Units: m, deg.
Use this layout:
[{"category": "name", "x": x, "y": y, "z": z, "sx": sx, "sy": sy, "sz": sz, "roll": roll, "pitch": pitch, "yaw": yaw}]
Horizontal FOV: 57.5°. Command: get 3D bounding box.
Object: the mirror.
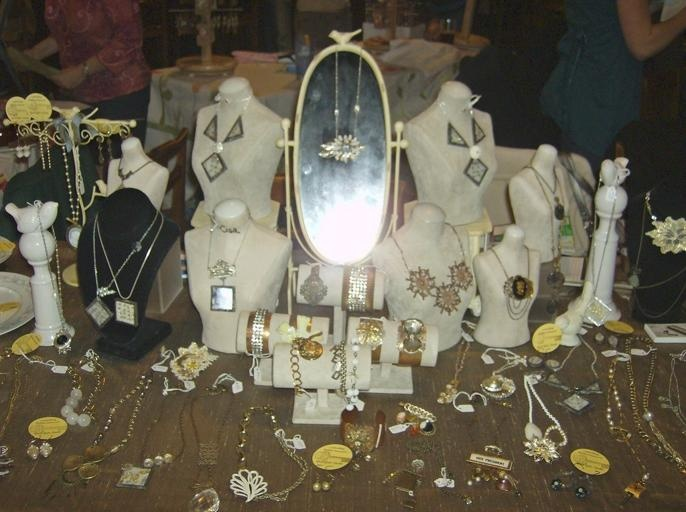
[{"category": "mirror", "x": -0.002, "y": -0.312, "z": 3.061, "sx": 0.629, "sy": 1.531, "sz": 0.404, "roll": 2, "pitch": 23, "yaw": 7}]
